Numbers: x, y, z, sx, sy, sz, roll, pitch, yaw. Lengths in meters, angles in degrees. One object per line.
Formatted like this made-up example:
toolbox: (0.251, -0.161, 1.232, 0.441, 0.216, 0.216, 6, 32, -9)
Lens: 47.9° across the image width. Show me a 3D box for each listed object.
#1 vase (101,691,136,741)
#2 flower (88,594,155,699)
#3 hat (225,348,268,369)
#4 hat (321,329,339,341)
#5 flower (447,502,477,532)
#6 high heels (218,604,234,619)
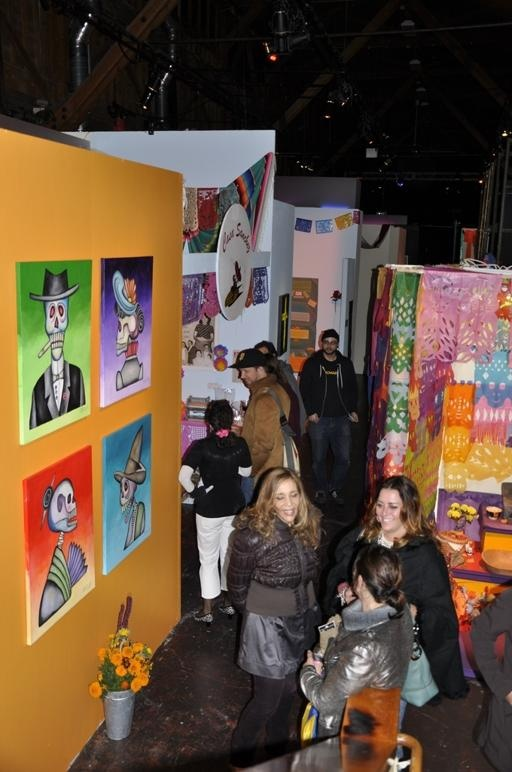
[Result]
vase: (-0.630, 1.493, 2.678, 0.173, 0.221, 0.169, 3, -4, -24)
flower: (-0.637, 1.357, 2.728, 0.265, 0.564, 0.474, -2, 10, -13)
hat: (-0.032, -0.216, 4.243, 0.206, 0.126, 0.158, 0, 5, -6)
hat: (0.761, -0.529, 5.950, 0.132, 0.115, 0.140, 4, 8, 3)
flower: (1.311, 0.804, 3.637, 0.170, 0.185, 0.162, 5, -8, -35)
high heels: (-0.206, 1.495, 3.879, 0.080, 0.091, 0.085, 5, 14, 8)
